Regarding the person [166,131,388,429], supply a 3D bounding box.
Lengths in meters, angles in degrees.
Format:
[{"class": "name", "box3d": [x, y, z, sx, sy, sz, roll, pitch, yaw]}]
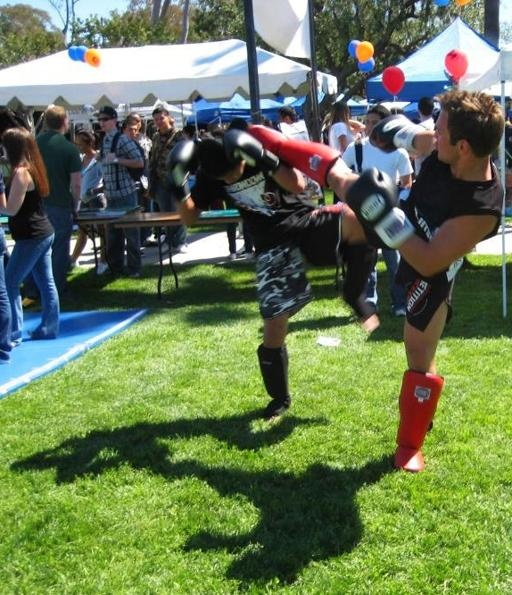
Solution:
[{"class": "person", "box3d": [0.171, -0.164, 2.860, 1.049, 1.244, 0.736, -12, -2, -32]}]

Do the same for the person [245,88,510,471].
[{"class": "person", "box3d": [0.601, -0.012, 2.565, 0.721, 1.546, 0.747, -6, 11, -22]}]

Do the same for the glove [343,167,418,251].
[{"class": "glove", "box3d": [0.448, -0.350, 2.216, 0.144, 0.303, 0.214, -41, -7, -28]}]

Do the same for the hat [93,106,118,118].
[{"class": "hat", "box3d": [-1.671, -2.133, 7.095, 0.166, 0.157, 0.333, 0, 9, 10]}]

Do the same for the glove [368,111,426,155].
[{"class": "glove", "box3d": [0.668, -0.738, 2.844, 0.223, 0.171, 0.103, 41, -4, 43]}]

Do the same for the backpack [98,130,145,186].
[{"class": "backpack", "box3d": [-1.556, -1.604, 7.303, 0.469, 0.734, 0.496, -4, 10, -11]}]

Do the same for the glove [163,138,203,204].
[{"class": "glove", "box3d": [-0.320, -0.551, 2.679, 0.094, 0.229, 0.177, 10, 32, 3]}]

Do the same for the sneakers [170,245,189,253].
[{"class": "sneakers", "box3d": [-1.096, -0.686, 9.066, 0.187, 0.116, 0.243, -25, 16, -29]}]

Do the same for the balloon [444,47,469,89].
[{"class": "balloon", "box3d": [2.370, -2.709, 7.365, 0.221, 0.376, 0.688, 1, 10, 15]}]
